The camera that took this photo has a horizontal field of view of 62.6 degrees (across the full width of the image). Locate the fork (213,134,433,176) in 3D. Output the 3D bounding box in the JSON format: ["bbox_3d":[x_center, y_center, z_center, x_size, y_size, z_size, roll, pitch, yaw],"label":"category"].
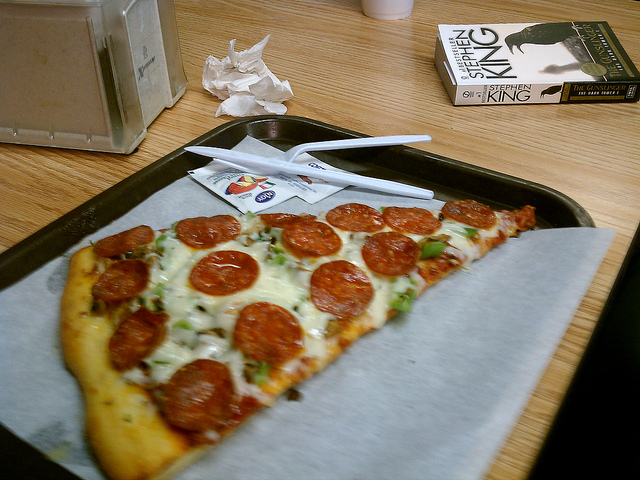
[{"bbox_3d":[-0.001,-0.178,1.164,0.538,0.062,0.062,-3,45,37],"label":"fork"}]

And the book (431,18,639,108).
[{"bbox_3d":[0.520,-0.420,1.323,0.488,0.070,0.263,2,37,3],"label":"book"}]

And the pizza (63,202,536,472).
[{"bbox_3d":[-0.113,0.056,0.867,0.734,0.069,0.437,-34,58,-29],"label":"pizza"}]

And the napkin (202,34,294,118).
[{"bbox_3d":[-0.165,-0.375,1.281,0.242,0.098,0.224,-6,53,-12],"label":"napkin"}]
